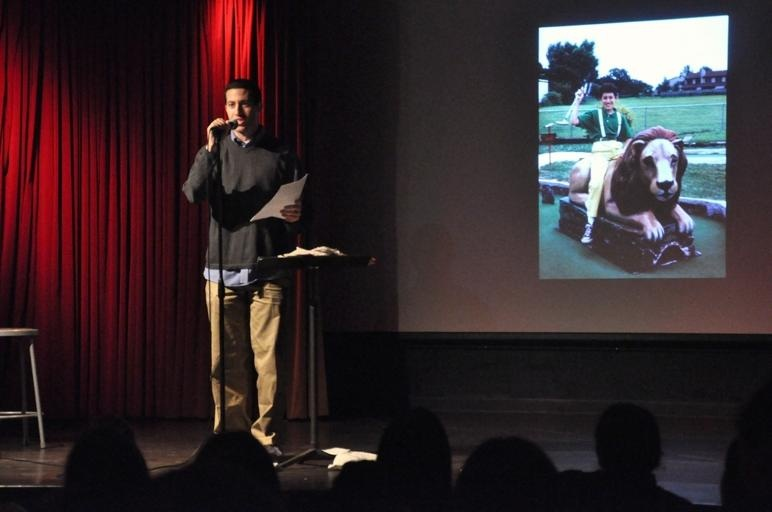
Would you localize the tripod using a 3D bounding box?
[{"bbox_3d":[-0.467,0.501,4.378,0.569,1.322,0.449,6,11,-6],"label":"tripod"}]

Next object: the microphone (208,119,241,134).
[{"bbox_3d":[-0.907,-0.718,4.127,0.143,0.087,0.057,2,-4,-19],"label":"microphone"}]
